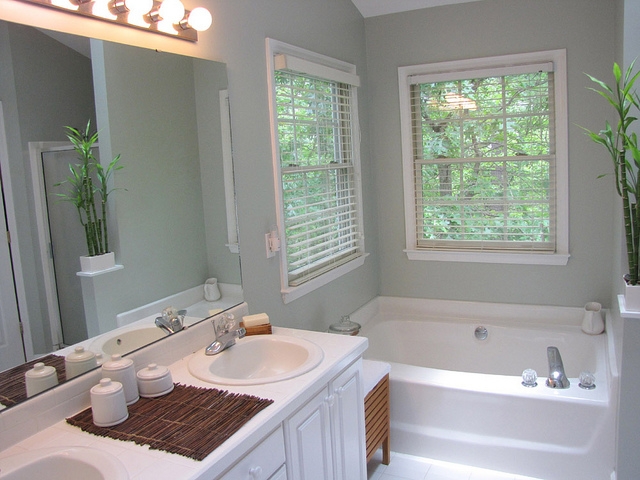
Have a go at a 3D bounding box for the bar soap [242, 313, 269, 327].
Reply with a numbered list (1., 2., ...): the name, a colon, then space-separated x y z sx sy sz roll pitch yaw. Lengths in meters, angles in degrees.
1. bar soap: -0.333 0.403 2.410 0.089 0.031 0.062 -3 4 -27

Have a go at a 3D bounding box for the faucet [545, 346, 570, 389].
1. faucet: 1.485 0.782 2.931 0.122 0.207 0.233 0 10 26

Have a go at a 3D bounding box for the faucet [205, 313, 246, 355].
1. faucet: -0.452 0.443 2.250 0.139 0.101 0.191 -1 1 21

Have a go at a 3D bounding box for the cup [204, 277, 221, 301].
1. cup: -0.546 0.244 2.367 0.068 0.106 0.105 5 17 10

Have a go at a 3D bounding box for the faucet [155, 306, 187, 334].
1. faucet: -0.681 0.368 2.148 0.140 0.068 0.097 -11 39 -41
